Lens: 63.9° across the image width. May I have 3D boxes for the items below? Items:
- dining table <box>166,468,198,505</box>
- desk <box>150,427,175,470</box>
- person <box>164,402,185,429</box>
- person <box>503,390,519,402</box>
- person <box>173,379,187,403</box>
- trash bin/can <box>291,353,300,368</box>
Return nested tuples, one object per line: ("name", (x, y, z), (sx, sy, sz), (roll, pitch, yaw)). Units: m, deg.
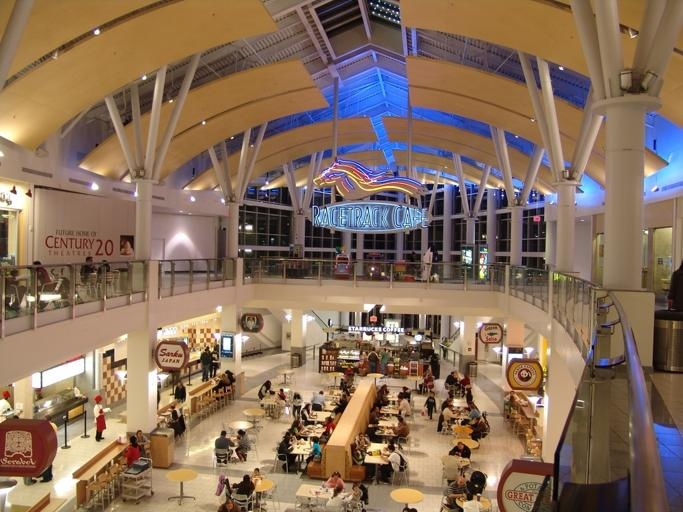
("dining table", (-4.984, 7.151, 17.114), (0.808, 1.086, 2.100), (1, -5, -16))
("desk", (-6.370, 6.918, 19.459), (1.046, 1.582, 0.808), (0, -5, -5))
("person", (-6.679, 6.686, 22.129), (0.655, 1.191, 1.696), (1, -4, -17))
("person", (8.025, 6.765, 25.928), (0.665, 0.717, 0.390), (-5, -22, 33))
("person", (-7.102, 6.028, 24.069), (0.461, 0.982, 0.791), (1, -4, -19))
("trash bin/can", (-2.996, 6.890, 35.547), (0.574, 0.913, 0.871), (-1, -5, 5))
